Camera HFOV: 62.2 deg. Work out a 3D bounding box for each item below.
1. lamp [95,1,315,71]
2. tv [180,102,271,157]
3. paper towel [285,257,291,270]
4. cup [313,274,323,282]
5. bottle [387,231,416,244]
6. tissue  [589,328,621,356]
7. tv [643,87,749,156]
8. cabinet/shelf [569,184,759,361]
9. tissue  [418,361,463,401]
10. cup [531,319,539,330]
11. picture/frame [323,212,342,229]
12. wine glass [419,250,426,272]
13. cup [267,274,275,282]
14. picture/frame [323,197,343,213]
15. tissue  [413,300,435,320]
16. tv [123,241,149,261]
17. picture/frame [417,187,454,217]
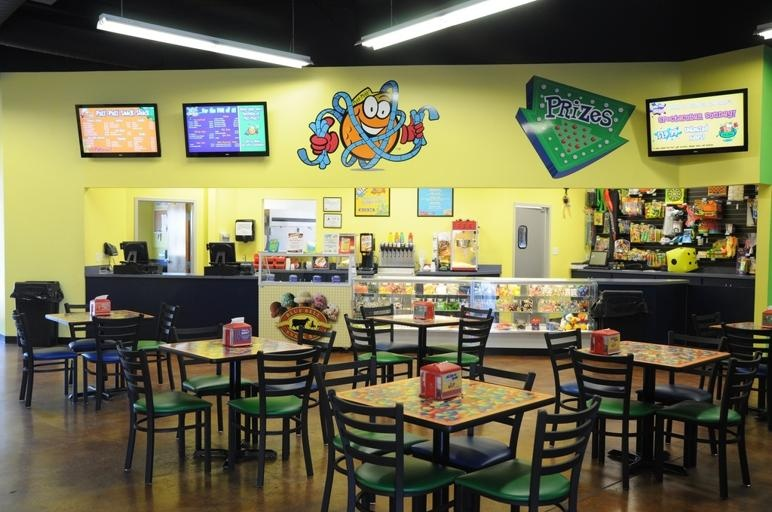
[{"bbox_3d":[-2.534,-3.000,8.957,2.700,0.457,0.315,-2,2,-20],"label":"lamp"},{"bbox_3d":[-2.575,-2.059,10.385,1.076,0.618,0.040,0,9,0],"label":"tv"},{"bbox_3d":[-1.709,0.140,11.181,0.088,0.209,0.094,-2,2,-12],"label":"paper towel"},{"bbox_3d":[-1.176,0.385,11.043,0.146,0.120,0.175,-2,2,-7],"label":"cup"},{"bbox_3d":[0.332,-0.411,14.389,0.599,0.251,0.308,-2,2,-2],"label":"bottle"},{"bbox_3d":[2.442,0.974,7.241,0.298,0.267,0.310,-4,-4,44],"label":"tissue "},{"bbox_3d":[4.763,-2.026,9.756,1.302,0.790,0.086,1,4,26],"label":"tv"},{"bbox_3d":[4.780,0.260,10.749,3.323,2.845,1.210,-1,-4,42],"label":"cabinet/shelf"},{"bbox_3d":[0.504,1.145,5.887,0.379,0.308,0.244,-2,2,3],"label":"tissue "},{"bbox_3d":[2.514,1.154,10.819,0.187,0.167,0.173,0,3,0],"label":"cup"},{"bbox_3d":[-1.208,-0.824,14.654,0.435,0.305,0.030,0,0,2],"label":"picture/frame"},{"bbox_3d":[0.806,0.081,14.431,0.184,0.375,0.216,-2,2,2],"label":"wine glass"},{"bbox_3d":[-1.976,0.372,11.063,0.201,0.124,0.139,-3,3,-34],"label":"cup"},{"bbox_3d":[-1.202,-1.181,14.628,0.424,0.305,0.029,1,1,1],"label":"picture/frame"},{"bbox_3d":[0.475,0.751,8.775,0.224,0.300,0.382,5,-7,-41],"label":"tissue "},{"bbox_3d":[-4.565,-0.084,11.680,0.398,0.335,0.185,1,4,-4],"label":"tv"},{"bbox_3d":[1.109,-1.190,14.285,0.732,0.460,0.022,0,-2,0],"label":"picture/frame"}]
